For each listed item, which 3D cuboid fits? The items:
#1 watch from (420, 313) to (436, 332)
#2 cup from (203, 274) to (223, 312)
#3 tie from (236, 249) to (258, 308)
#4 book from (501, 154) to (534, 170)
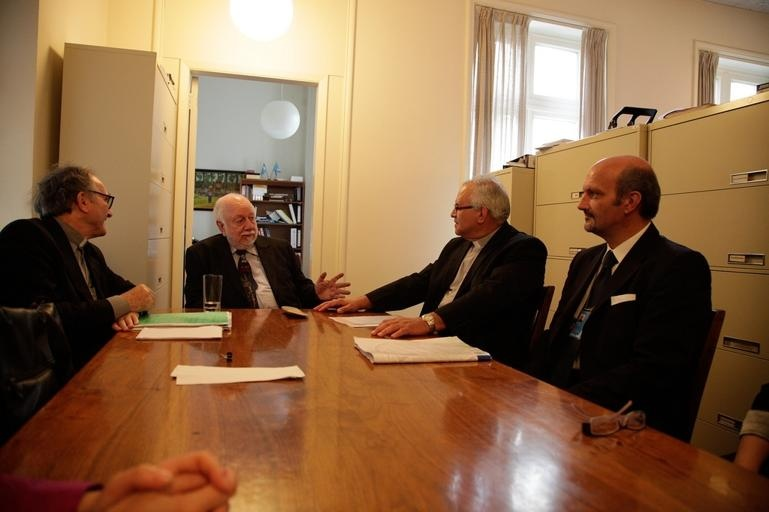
[{"bbox_3d":[0.203,0.296,2.300,0.045,0.081,0.076,-13,-12,-10],"label":"watch"},{"bbox_3d":[-0.847,0.184,2.546,0.083,0.197,0.087,2,11,0],"label":"cup"},{"bbox_3d":[-0.902,0.139,3.374,0.091,0.080,0.559,1,53,-24],"label":"tie"},{"bbox_3d":[1.157,-0.791,4.368,0.179,0.077,0.140,-1,5,-8],"label":"book"}]
